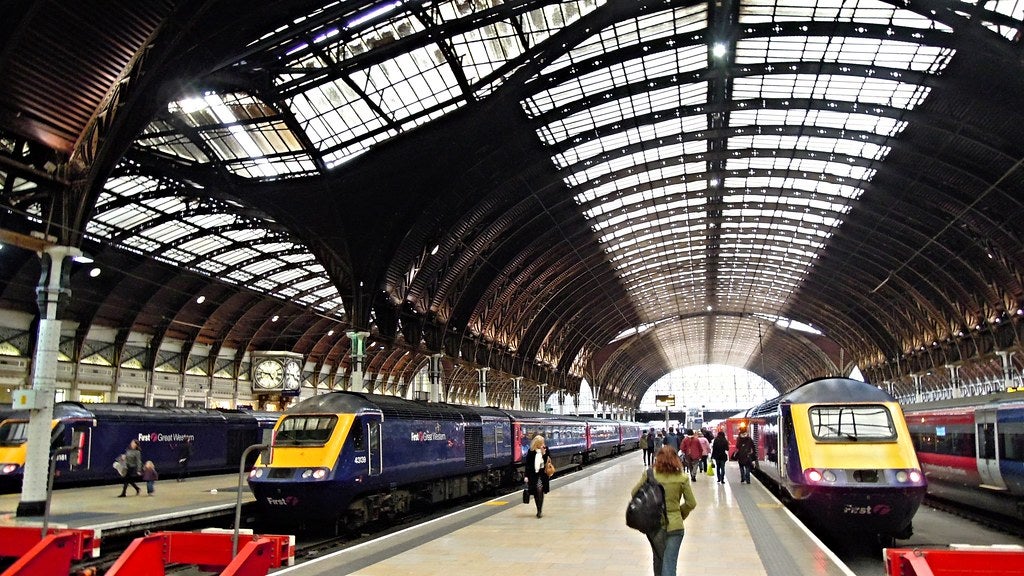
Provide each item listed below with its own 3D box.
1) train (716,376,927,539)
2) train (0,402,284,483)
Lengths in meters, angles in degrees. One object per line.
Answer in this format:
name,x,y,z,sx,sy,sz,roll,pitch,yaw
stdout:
train,11.809,5.566,21.598,3.791,5.057,1.372,-3,-21,6
train,-20.402,8.469,33.478,4.074,4.090,17.563,-7,-15,15
